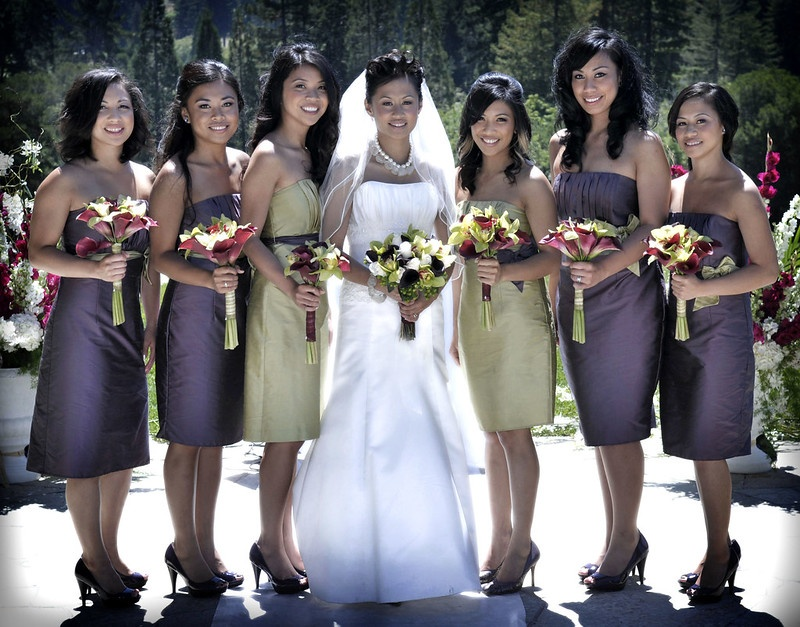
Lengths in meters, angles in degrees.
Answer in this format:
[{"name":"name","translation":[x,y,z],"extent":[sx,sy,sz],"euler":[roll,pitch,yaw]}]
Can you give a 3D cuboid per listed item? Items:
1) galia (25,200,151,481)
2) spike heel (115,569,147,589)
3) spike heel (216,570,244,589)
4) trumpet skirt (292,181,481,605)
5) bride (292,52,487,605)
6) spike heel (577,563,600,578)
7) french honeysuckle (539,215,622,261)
[{"name":"galia","translation":[-1.598,0.213,4.357],"extent":[0.687,1.237,0.349],"euler":[-5,11,-18]},{"name":"spike heel","translation":[-1.398,1.402,4.445],"extent":[0.169,0.065,0.059],"euler":[-1,6,-26]},{"name":"spike heel","translation":[-0.895,1.417,4.510],"extent":[0.151,0.060,0.059],"euler":[9,4,28]},{"name":"trumpet skirt","translation":[-0.097,0.350,4.708],"extent":[0.925,2.113,0.751],"euler":[2,-5,-14]},{"name":"bride","translation":[-0.061,0.104,4.786],"extent":[1.135,2.842,1.019],"euler":[0,1,-4]},{"name":"spike heel","translation":[0.997,1.380,4.516],"extent":[0.049,0.048,0.127],"euler":[-1,27,45]},{"name":"french honeysuckle","translation":[0.896,-0.363,4.225],"extent":[0.385,0.218,0.202],"euler":[2,11,19]}]
